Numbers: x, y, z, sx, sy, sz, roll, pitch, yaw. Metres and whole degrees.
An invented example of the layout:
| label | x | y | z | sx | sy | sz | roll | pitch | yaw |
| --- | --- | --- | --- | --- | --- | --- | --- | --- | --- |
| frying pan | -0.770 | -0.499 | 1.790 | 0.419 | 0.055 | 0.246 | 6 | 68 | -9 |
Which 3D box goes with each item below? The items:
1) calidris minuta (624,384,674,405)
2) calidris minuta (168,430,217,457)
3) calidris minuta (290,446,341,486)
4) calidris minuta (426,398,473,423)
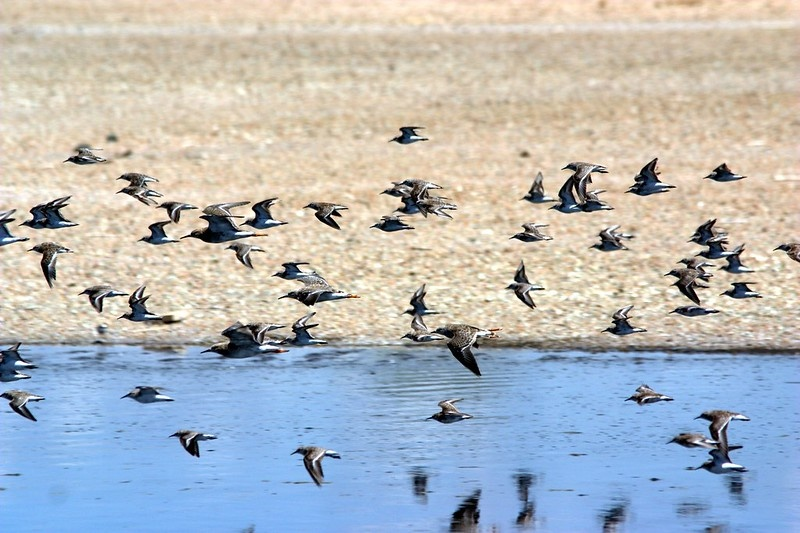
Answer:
| label | x | y | z | sx | sy | sz | roll | pitch | yaw |
| --- | --- | --- | --- | --- | --- | --- | --- | --- | --- |
| calidris minuta | 6.034 | 3.165 | 33.999 | 1.095 | 0.215 | 0.717 | 1 | 7 | 5 |
| calidris minuta | -4.834 | 4.056 | 32.366 | 1.129 | 0.299 | 1.014 | -13 | 11 | -3 |
| calidris minuta | -1.922 | 4.566 | 31.647 | 1.660 | 0.411 | 1.096 | -4 | 35 | -1 |
| calidris minuta | 1.142 | 3.534 | 33.291 | 1.060 | 0.226 | 0.775 | -15 | 15 | 9 |
